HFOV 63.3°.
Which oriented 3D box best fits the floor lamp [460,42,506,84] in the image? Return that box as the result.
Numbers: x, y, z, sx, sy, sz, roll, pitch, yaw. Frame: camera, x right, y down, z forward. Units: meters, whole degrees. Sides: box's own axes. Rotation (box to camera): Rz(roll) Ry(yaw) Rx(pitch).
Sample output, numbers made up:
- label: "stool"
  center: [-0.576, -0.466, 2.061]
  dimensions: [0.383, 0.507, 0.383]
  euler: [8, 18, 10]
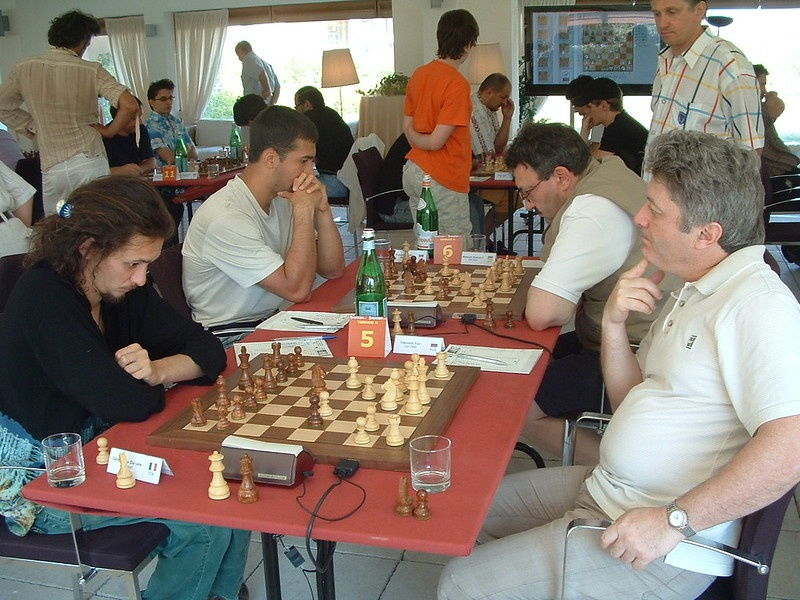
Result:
- label: "floor lamp"
  center: [0.776, -2.251, 6.111]
  dimensions: [0.403, 0.404, 0.410]
  euler: [0, 25, 9]

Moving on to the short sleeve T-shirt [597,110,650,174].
- label: "short sleeve T-shirt"
  center: [1.796, -1.262, 5.103]
  dimensions: [0.337, 0.492, 0.355]
  euler: [0, 49, 29]

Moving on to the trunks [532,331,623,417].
- label: "trunks"
  center: [0.599, 0.230, 2.220]
  dimensions: [0.326, 0.092, 0.278]
  euler: [29, 40, -30]

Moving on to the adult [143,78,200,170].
- label: "adult"
  center: [-2.174, -1.648, 6.110]
  dimensions: [0.430, 0.782, 0.509]
  euler: [12, 23, 26]

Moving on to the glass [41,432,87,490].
- label: "glass"
  center: [-0.717, 0.347, 1.405]
  dimensions: [0.088, 0.104, 0.090]
  euler: [-4, -3, 0]

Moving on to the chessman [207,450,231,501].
- label: "chessman"
  center: [-0.368, 0.351, 1.321]
  dimensions: [0.042, 0.082, 0.085]
  euler: [-3, 15, -16]

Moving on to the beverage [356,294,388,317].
- label: "beverage"
  center: [-0.092, 0.010, 2.087]
  dimensions: [0.077, 0.083, 0.080]
  euler: [3, 7, 33]

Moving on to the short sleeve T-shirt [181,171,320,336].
- label: "short sleeve T-shirt"
  center: [-0.671, -0.219, 2.753]
  dimensions: [0.516, 0.713, 0.591]
  euler: [16, 21, 5]

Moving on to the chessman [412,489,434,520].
- label: "chessman"
  center: [0.040, 0.384, 1.229]
  dimensions: [0.044, 0.050, 0.045]
  euler: [0, 7, 0]

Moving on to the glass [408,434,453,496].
- label: "glass"
  center: [0.060, 0.345, 1.339]
  dimensions: [0.096, 0.105, 0.099]
  euler: [-7, -19, 26]

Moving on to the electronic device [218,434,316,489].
- label: "electronic device"
  center: [-0.279, 0.331, 1.334]
  dimensions: [0.147, 0.070, 0.091]
  euler: [6, 11, 17]

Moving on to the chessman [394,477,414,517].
- label: "chessman"
  center: [0.008, 0.378, 1.250]
  dimensions: [0.050, 0.092, 0.054]
  euler: [0, 8, 2]

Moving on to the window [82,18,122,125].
- label: "window"
  center: [-5.178, -3.917, 11.427]
  dimensions: [0.139, 1.684, 0.667]
  euler: [15, -17, -23]

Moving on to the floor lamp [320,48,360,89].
- label: "floor lamp"
  center: [-0.714, -2.874, 8.186]
  dimensions: [0.466, 0.504, 0.465]
  euler: [3, 27, 13]

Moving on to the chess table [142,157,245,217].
- label: "chess table"
  center: [-1.625, -0.840, 5.208]
  dimensions: [0.402, 0.159, 0.604]
  euler: [11, 28, 4]

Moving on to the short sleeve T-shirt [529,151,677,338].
- label: "short sleeve T-shirt"
  center: [0.693, -0.148, 2.573]
  dimensions: [0.538, 0.929, 0.742]
  euler: [-4, 5, 12]

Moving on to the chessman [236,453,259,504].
- label: "chessman"
  center: [-0.304, 0.358, 1.295]
  dimensions: [0.038, 0.082, 0.049]
  euler: [-2, 15, -14]
